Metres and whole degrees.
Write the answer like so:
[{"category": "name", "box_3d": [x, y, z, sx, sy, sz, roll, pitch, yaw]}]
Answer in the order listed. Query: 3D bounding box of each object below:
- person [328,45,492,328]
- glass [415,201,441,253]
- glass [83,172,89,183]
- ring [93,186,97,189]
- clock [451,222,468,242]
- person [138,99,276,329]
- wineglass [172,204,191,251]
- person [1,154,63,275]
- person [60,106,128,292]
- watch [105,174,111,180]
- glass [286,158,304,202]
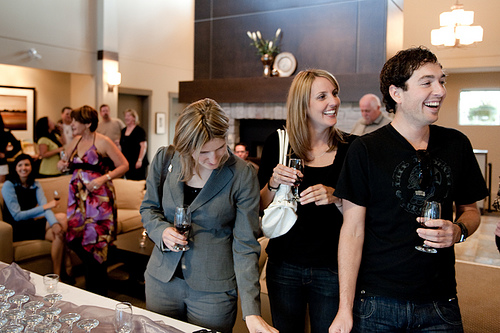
[{"category": "person", "box_3d": [0.957, 0.126, 2.400, 0.908, 1.708, 0.439, 0, 7, 11]}, {"category": "glass", "box_3d": [1.021, 0.349, 2.281, 0.127, 0.302, 0.141, 2, 7, 23]}, {"category": "glass", "box_3d": [-1.707, 0.113, 4.164, 0.059, 0.109, 0.042, -3, 7, -15]}, {"category": "ring", "box_3d": [-1.609, 0.210, 4.141, 0.030, 0.027, 0.007, 0, 4, -33]}, {"category": "clock", "box_3d": [1.236, 0.396, 2.390, 0.099, 0.108, 0.043, 8, -27, -26]}, {"category": "person", "box_3d": [-0.274, 0.318, 2.607, 0.912, 1.488, 0.429, 2, 7, 23]}, {"category": "wineglass", "box_3d": [-0.427, 0.391, 2.531, 0.114, 0.303, 0.132, -1, 7, -1]}, {"category": "person", "box_3d": [-2.561, 0.537, 4.671, 0.584, 1.385, 0.760, -5, 8, -32]}, {"category": "person", "box_3d": [-1.783, 0.383, 4.529, 0.756, 2.104, 0.848, -5, 8, -26]}, {"category": "watch", "box_3d": [-1.503, 0.111, 4.230, 0.053, 0.063, 0.051, -1, 7, -1]}, {"category": "glass", "box_3d": [0.307, 0.092, 2.672, 0.107, 0.287, 0.140, 0, 7, 9]}]
